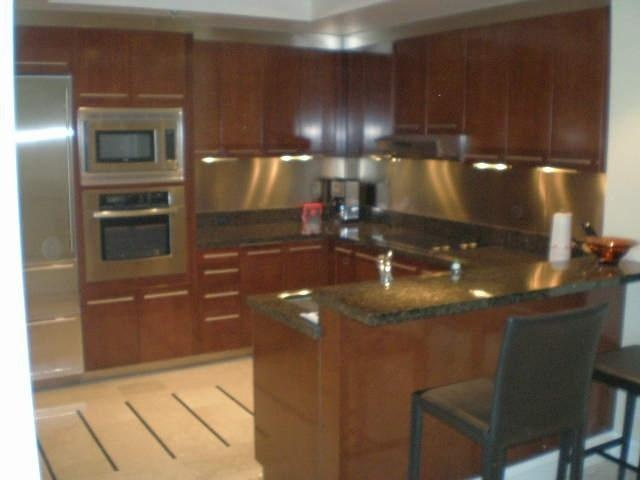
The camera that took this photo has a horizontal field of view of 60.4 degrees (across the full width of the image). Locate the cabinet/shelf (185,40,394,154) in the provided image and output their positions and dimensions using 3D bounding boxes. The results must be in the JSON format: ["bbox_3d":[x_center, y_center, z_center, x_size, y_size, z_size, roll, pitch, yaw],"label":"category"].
[{"bbox_3d":[-0.252,-1.220,4.836,1.595,0.912,0.664,0,8,-2],"label":"cabinet/shelf"}]

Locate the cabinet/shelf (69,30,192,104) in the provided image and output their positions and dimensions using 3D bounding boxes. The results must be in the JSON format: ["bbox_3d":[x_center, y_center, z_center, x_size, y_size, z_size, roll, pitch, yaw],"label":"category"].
[{"bbox_3d":[-1.322,-1.257,4.130,0.836,0.520,0.455,2,8,4],"label":"cabinet/shelf"}]

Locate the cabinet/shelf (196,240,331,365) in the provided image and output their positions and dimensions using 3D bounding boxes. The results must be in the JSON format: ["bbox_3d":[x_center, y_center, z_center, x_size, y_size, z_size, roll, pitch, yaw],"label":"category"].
[{"bbox_3d":[-0.463,0.402,3.631,0.935,0.625,0.319,-4,6,-23],"label":"cabinet/shelf"}]

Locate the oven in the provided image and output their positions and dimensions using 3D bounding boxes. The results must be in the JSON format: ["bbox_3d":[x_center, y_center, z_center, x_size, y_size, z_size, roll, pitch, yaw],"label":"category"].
[{"bbox_3d":[-1.444,-0.107,4.208,0.735,0.680,0.496,-5,18,-30],"label":"oven"}]

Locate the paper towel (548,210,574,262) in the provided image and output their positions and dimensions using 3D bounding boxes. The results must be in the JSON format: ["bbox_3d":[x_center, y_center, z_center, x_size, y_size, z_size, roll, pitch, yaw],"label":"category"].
[{"bbox_3d":[1.390,-0.011,3.154,0.107,0.299,0.117,4,17,21],"label":"paper towel"}]

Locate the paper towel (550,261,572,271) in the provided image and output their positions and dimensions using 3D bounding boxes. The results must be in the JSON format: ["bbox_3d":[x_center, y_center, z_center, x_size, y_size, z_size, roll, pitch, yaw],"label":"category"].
[{"bbox_3d":[1.178,0.123,2.698,0.063,0.024,0.064,4,10,34],"label":"paper towel"}]

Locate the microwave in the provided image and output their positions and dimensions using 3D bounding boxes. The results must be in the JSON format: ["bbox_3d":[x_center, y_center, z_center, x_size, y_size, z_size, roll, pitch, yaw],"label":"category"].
[{"bbox_3d":[-1.411,-0.630,4.047,0.716,0.352,0.379,-5,9,-30],"label":"microwave"}]

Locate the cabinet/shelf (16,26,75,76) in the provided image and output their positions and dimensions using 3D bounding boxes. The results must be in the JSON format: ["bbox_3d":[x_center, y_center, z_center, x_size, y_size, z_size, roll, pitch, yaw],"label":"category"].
[{"bbox_3d":[-1.837,-1.252,3.636,0.383,0.322,0.121,-4,7,-34],"label":"cabinet/shelf"}]

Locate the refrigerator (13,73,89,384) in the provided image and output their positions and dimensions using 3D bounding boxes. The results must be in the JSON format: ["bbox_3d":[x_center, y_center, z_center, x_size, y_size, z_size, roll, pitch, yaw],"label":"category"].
[{"bbox_3d":[-1.779,-0.052,3.641,0.370,2.087,0.528,-4,8,-26],"label":"refrigerator"}]

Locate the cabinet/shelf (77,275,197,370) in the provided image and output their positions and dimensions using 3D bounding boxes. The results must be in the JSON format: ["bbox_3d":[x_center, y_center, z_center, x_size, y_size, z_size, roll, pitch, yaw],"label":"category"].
[{"bbox_3d":[-1.455,0.467,4.355,0.997,0.812,0.559,-3,6,-26],"label":"cabinet/shelf"}]

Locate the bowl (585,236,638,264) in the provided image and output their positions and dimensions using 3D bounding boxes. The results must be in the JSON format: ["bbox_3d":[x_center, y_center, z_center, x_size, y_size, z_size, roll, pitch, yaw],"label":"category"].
[{"bbox_3d":[1.411,0.034,2.706,0.169,0.065,0.173,-1,8,0],"label":"bowl"}]
